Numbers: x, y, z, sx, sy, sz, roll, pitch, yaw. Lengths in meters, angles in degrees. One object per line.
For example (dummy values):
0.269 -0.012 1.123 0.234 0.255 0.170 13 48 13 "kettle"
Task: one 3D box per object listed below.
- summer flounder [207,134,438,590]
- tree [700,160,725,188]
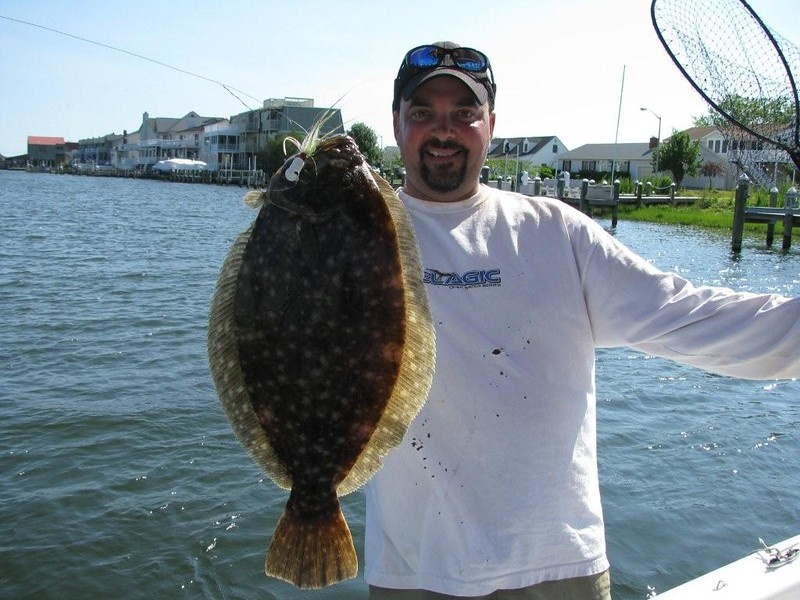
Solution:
-0.349 0.304 3.421 1.036 2.153 0.363 2 8 12 "summer flounder"
26.416 -10.614 59.948 1.895 2.528 2.110 -18 25 -38 "tree"
